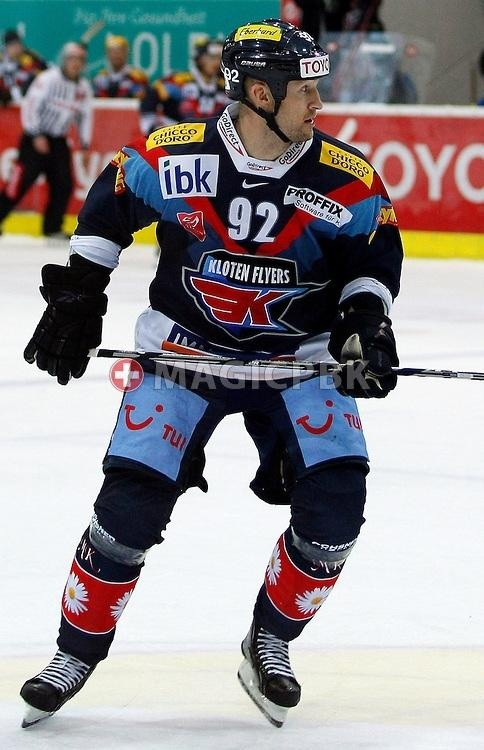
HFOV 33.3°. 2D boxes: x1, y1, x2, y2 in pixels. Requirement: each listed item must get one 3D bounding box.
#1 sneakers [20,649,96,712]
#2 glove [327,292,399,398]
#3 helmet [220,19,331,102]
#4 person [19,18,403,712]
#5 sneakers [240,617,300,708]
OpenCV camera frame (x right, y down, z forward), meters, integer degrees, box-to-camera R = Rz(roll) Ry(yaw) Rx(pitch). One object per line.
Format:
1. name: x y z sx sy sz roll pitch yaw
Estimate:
1. sneakers: -0.308 0.538 1.357 0.068 0.098 0.150 3 11 12
2. glove: 0.215 -0.043 1.496 0.126 0.187 0.093 25 -36 -34
3. helmet: 0.073 -0.552 1.472 0.203 0.179 0.150 4 29 21
4. person: -0.061 -0.006 1.419 0.717 1.250 0.494 1 11 1
5. sneakers: 0.039 0.522 1.443 0.060 0.102 0.174 -2 5 -15
